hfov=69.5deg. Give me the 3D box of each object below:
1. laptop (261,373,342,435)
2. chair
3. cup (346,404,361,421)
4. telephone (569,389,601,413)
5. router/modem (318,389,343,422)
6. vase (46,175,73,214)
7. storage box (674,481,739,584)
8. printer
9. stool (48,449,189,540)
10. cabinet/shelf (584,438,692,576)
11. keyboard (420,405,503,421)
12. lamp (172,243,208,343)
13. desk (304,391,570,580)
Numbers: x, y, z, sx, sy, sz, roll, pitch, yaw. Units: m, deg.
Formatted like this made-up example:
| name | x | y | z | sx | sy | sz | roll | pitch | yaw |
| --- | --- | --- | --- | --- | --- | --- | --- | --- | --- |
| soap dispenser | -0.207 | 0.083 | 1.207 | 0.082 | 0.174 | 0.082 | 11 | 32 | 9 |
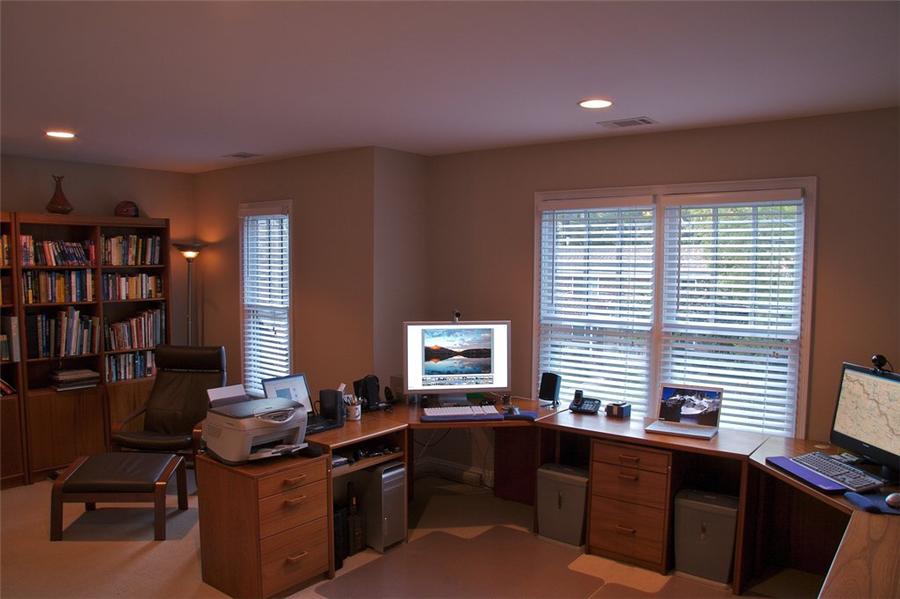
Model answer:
| name | x | y | z | sx | sy | sz | roll | pitch | yaw |
| --- | --- | --- | --- | --- | --- | --- | --- | --- | --- |
| laptop | -1.118 | 0.777 | 4.983 | 0.494 | 0.348 | 0.460 | 0 | 3 | 28 |
| chair | -2.488 | 0.965 | 5.945 | 1.035 | 1.408 | 1.240 | 1 | 4 | 4 |
| cup | -0.747 | 0.886 | 5.050 | 0.108 | 0.089 | 0.110 | 1 | -4 | 0 |
| telephone | 1.078 | 0.811 | 5.257 | 0.213 | 0.088 | 0.176 | 6 | 25 | 28 |
| router/modem | -0.910 | 0.819 | 4.964 | 0.128 | 0.239 | 0.236 | 0 | 2 | -42 |
| vase | -3.842 | -1.031 | 6.358 | 0.224 | 0.385 | 0.349 | -7 | 15 | -27 |
| storage box | 1.797 | 1.688 | 4.629 | 0.413 | 0.543 | 0.267 | 5 | 14 | 20 |
| printer | -1.370 | 0.851 | 4.486 | 0.484 | 0.308 | 0.508 | 2 | 2 | 32 |
| stool | -2.581 | 1.398 | 5.111 | 0.696 | 0.427 | 0.907 | 1 | 3 | -1 |
| cabinet/shelf | 1.356 | 1.531 | 5.046 | 0.804 | 1.091 | 0.824 | 0 | -3 | 27 |
| keyboard | 0.094 | 0.906 | 5.216 | 0.638 | 0.047 | 0.350 | -1 | 12 | -4 |
| lamp | -2.828 | -0.080 | 7.213 | 0.336 | 1.161 | 0.524 | -5 | 14 | -19 |
| desk | 0.103 | 1.536 | 5.465 | 1.361 | 0.687 | 1.366 | 1 | 1 | 31 |
